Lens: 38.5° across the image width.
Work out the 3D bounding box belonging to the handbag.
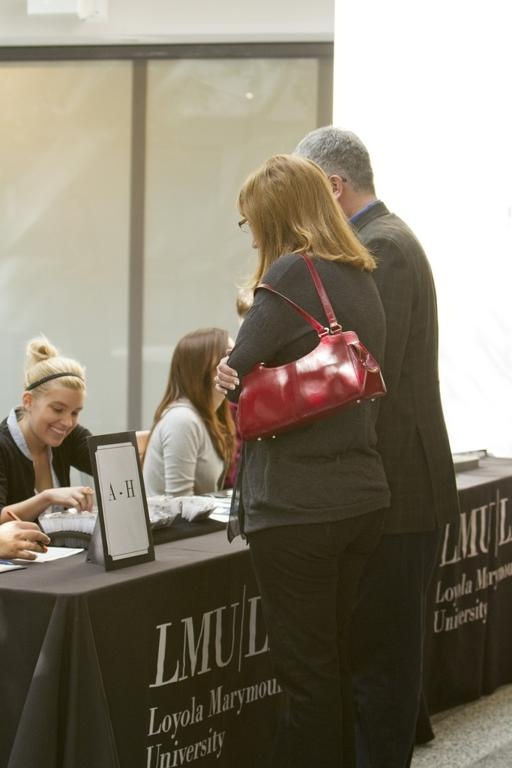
[{"bbox_3d":[0.071,0.001,1.061,0.131,0.126,0.054,-23,-16,15],"label":"handbag"}]
